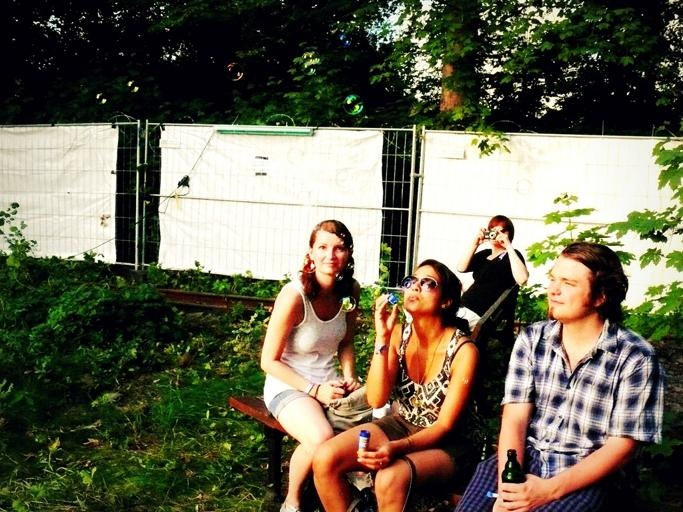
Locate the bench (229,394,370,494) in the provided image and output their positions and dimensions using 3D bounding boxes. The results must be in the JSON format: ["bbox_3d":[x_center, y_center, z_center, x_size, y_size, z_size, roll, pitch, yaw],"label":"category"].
[{"bbox_3d":[-0.303,1.476,5.385,0.788,0.543,0.833,1,-10,3],"label":"bench"}]

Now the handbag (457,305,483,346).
[{"bbox_3d":[1.248,0.653,6.677,0.279,0.411,0.415,3,8,13],"label":"handbag"}]

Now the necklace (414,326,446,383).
[{"bbox_3d":[0.659,0.718,5.127,0.230,0.428,0.099,10,0,27],"label":"necklace"}]

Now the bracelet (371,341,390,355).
[{"bbox_3d":[0.280,0.680,5.113,0.089,0.074,0.036,-22,8,9],"label":"bracelet"}]

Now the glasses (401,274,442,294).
[{"bbox_3d":[0.571,0.198,5.026,0.255,0.100,0.112,0,2,10],"label":"glasses"}]

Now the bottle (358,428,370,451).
[{"bbox_3d":[0.159,1.282,4.805,0.097,0.183,0.106,1,-8,0],"label":"bottle"}]

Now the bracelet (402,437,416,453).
[{"bbox_3d":[0.479,1.338,4.870,0.090,0.106,0.026,-1,1,-26],"label":"bracelet"}]

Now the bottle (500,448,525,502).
[{"bbox_3d":[1.146,1.403,4.594,0.151,0.215,0.077,0,1,16],"label":"bottle"}]
